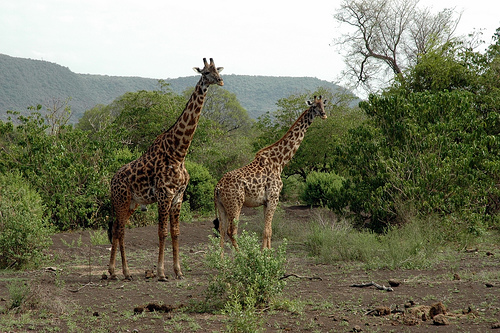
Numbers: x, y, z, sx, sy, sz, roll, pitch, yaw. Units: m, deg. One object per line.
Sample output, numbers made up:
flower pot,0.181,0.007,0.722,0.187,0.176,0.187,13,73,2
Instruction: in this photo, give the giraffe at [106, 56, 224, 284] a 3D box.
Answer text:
giraffe,-2.334,0.094,12.530,2.562,5.534,5.340,2,-2,-17
